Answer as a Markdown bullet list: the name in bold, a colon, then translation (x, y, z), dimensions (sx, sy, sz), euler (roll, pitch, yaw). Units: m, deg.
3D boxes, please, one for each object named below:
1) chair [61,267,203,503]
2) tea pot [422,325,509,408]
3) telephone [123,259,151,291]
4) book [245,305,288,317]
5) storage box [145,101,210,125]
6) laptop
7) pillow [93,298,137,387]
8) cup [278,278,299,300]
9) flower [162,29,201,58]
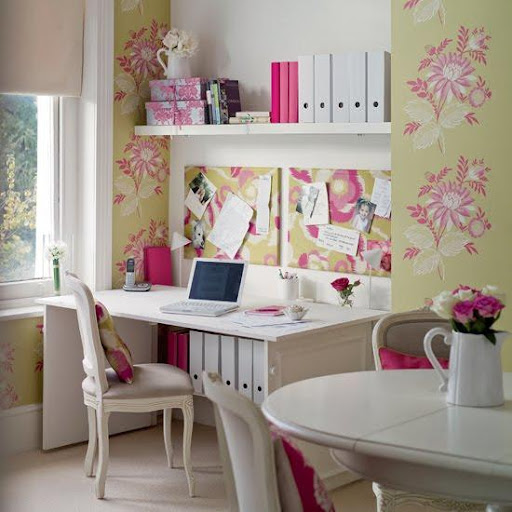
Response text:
- **chair**: translation (-0.636, 0.647, 2.485), dimensions (0.599, 1.043, 0.526), euler (1, -2, -21)
- **tea pot**: translation (0.490, 0.282, 1.233), dimensions (0.220, 0.211, 0.141), euler (0, 2, -1)
- **telephone**: translation (-0.760, 0.119, 3.097), dimensions (0.174, 0.197, 0.175), euler (2, 9, -26)
- **book**: translation (0.046, 0.289, 2.466), dimensions (0.203, 0.036, 0.202), euler (-4, -2, 2)
- **storage box**: translation (-0.524, -0.921, 3.090), dimensions (0.309, 0.119, 0.228), euler (2, 3, 36)
- **laptop**: translation (-0.264, 0.161, 2.518), dimensions (0.441, 0.268, 0.457), euler (0, 2, 0)
- **pillow**: translation (-0.748, 0.464, 2.448), dimensions (0.230, 0.416, 0.462), euler (-2, -6, -23)
- **cup**: translation (0.198, 0.202, 2.911), dimensions (0.121, 0.126, 0.111), euler (1, 1, 0)
- **flower**: translation (-0.490, -1.381, 3.086), dimensions (0.193, 0.206, 0.105), euler (-5, -2, 25)
